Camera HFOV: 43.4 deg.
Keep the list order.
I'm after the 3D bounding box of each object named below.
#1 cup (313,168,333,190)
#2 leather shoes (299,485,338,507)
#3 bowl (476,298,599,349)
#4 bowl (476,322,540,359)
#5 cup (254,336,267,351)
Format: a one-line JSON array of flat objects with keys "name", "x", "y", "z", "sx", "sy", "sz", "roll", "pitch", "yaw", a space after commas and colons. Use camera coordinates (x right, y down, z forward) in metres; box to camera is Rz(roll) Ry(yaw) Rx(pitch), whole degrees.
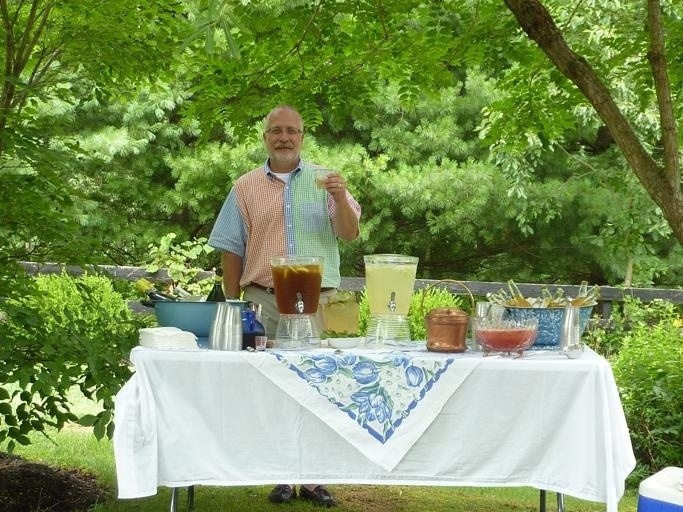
[{"name": "cup", "x": -0.090, "y": -0.410, "z": 4.545, "sx": 0.096, "sy": 0.104, "sz": 0.067, "roll": 3, "pitch": 6, "yaw": -2}, {"name": "leather shoes", "x": -0.153, "y": 1.561, "z": 5.645, "sx": 0.283, "sy": 0.108, "sz": 0.108, "roll": 2, "pitch": 1, "yaw": 41}, {"name": "bowl", "x": 1.047, "y": 0.317, "z": 4.521, "sx": 0.540, "sy": 0.243, "sz": 0.527, "roll": 0, "pitch": 9, "yaw": 0}, {"name": "bowl", "x": 0.837, "y": 0.416, "z": 4.336, "sx": 0.307, "sy": 0.188, "sz": 0.292, "roll": 1, "pitch": -11, "yaw": 0}, {"name": "cup", "x": -0.393, "y": 0.440, "z": 4.226, "sx": 0.063, "sy": 0.065, "sz": 0.060, "roll": 0, "pitch": -3, "yaw": 0}]
